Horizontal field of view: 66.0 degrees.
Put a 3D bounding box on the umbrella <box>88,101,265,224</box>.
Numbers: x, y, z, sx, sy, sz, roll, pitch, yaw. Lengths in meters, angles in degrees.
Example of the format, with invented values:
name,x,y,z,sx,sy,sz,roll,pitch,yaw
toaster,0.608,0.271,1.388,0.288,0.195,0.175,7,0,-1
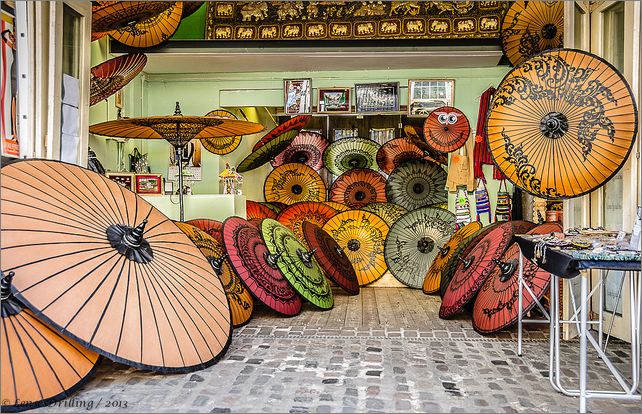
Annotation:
name,x,y,z,sx,sy,sz,roll,pitch,yaw
umbrella,-1.661,-0.219,5.661,1.473,1.752,1.507,0,-6,-12

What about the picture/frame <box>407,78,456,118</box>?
name,x,y,z,sx,sy,sz,roll,pitch,yaw
picture/frame,1.687,-1.632,7.346,0.734,0.718,0.058,1,4,3

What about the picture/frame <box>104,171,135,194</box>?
name,x,y,z,sx,sy,sz,roll,pitch,yaw
picture/frame,-2.025,-0.243,4.966,0.262,0.208,0.149,1,-4,-7

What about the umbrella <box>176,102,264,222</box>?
name,x,y,z,sx,sy,sz,roll,pitch,yaw
umbrella,-1.326,-0.470,5.647,1.170,1.439,1.214,-2,-6,0

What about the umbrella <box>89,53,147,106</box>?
name,x,y,z,sx,sy,sz,roll,pitch,yaw
umbrella,-2.301,-1.453,5.526,0.571,0.444,0.819,-4,9,-26

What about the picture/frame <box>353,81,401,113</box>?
name,x,y,z,sx,sy,sz,roll,pitch,yaw
picture/frame,0.874,-1.696,7.586,0.664,0.447,0.130,1,8,11

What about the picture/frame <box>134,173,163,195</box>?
name,x,y,z,sx,sy,sz,roll,pitch,yaw
picture/frame,-2.084,-0.273,5.911,0.275,0.267,0.031,0,4,-12
